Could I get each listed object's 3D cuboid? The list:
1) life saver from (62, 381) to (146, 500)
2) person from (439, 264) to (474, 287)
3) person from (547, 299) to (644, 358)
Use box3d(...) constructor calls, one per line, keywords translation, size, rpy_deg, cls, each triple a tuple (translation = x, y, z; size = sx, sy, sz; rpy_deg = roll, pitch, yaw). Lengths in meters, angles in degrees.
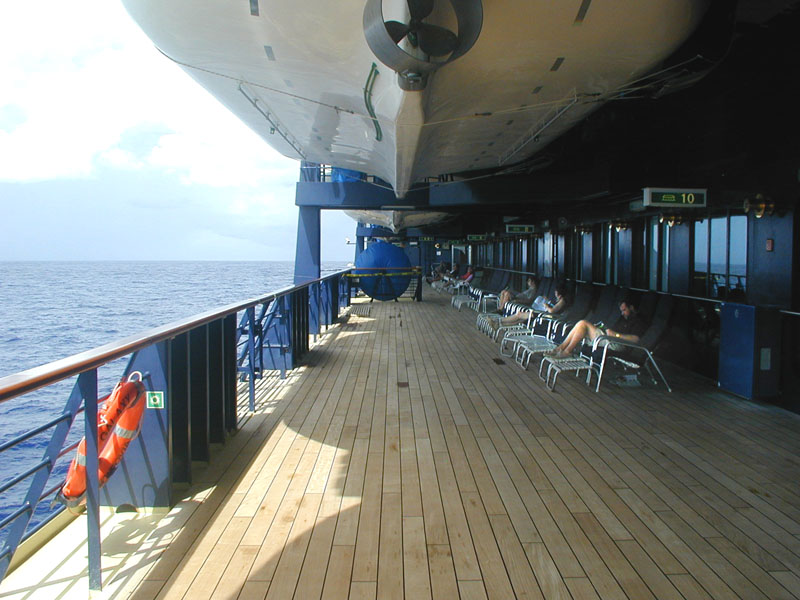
box3d(translation=(-1.826, 0.858, 3.884), size=(0.137, 0.619, 0.684), rpy_deg=(20, -8, 3), cls="life saver")
box3d(translation=(2.220, -0.823, 21.564), size=(1.046, 0.815, 1.117), rpy_deg=(1, -2, -11), cls="person")
box3d(translation=(2.353, 0.295, 7.227), size=(1.021, 0.750, 0.686), rpy_deg=(-1, 9, 22), cls="person")
